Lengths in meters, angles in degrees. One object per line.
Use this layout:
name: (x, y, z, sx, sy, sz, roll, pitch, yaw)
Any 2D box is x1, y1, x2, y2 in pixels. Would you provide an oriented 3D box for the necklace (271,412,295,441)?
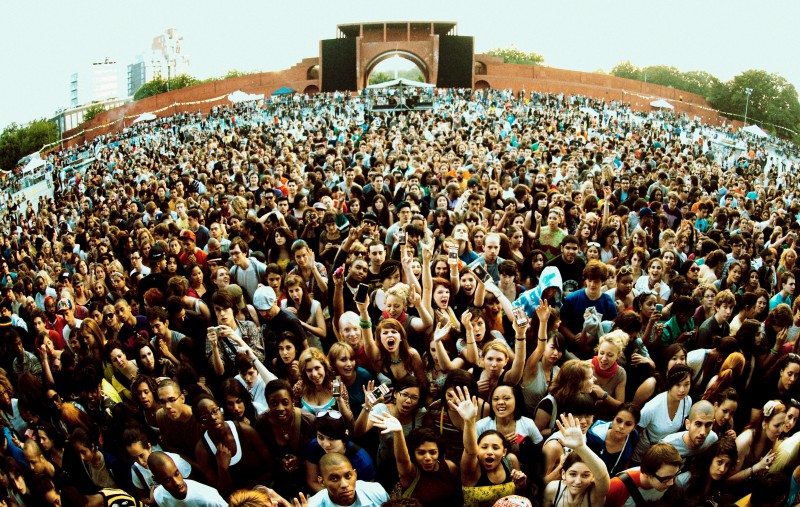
necklace: (-1.485, 2.278, 9.415, 0.229, 0.333, 0.089, 2, 1, 4)

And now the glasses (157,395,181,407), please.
glasses: (-3.020, 1.941, 9.455, 0.193, 0.131, 0.207, -2, -4, -6)

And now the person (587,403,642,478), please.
person: (2.742, 2.422, 9.379, 0.788, 1.043, 0.540, 3, 22, -4)

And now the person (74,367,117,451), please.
person: (-4.195, 2.184, 9.865, 0.414, 0.971, 0.348, -40, -24, -7)

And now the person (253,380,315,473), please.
person: (-1.491, 2.424, 9.510, 0.872, 1.473, 0.747, -3, 2, -12)

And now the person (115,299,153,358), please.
person: (-4.014, 1.169, 10.799, 0.239, 0.382, 0.735, 12, 21, -44)

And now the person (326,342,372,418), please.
person: (-0.689, 1.688, 9.789, 0.693, 0.924, 0.300, -22, -7, 35)

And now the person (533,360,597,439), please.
person: (2.172, 1.958, 9.816, 0.637, 1.221, 0.752, 12, 16, 4)

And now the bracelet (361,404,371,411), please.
bracelet: (-0.439, 2.011, 9.331, 0.074, 0.032, 0.092, 7, 6, 37)

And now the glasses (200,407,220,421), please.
glasses: (-2.442, 2.077, 9.214, 0.241, 0.164, 0.066, -8, 17, -18)

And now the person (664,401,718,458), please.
person: (3.806, 2.274, 9.322, 0.897, 0.682, 0.623, 3, 1, -8)

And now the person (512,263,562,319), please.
person: (2.155, 0.610, 11.013, 0.905, 0.887, 0.507, -1, 21, -10)

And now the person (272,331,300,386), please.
person: (-1.591, 1.488, 10.288, 0.410, 0.738, 0.372, -1, 8, 36)

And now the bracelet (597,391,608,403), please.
bracelet: (2.754, 1.961, 9.800, 0.148, 0.144, 0.095, -13, 14, -23)

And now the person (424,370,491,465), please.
person: (0.614, 2.118, 9.192, 0.805, 1.075, 0.422, -31, -22, 14)

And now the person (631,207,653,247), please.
person: (4.717, -0.580, 13.982, 0.333, 0.309, 1.127, 4, -31, 24)

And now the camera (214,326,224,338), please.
camera: (-2.537, 1.100, 10.093, 0.125, 0.134, 0.131, 3, -7, -24)

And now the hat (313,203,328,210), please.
hat: (-1.566, -0.924, 13.870, 0.239, 0.090, 0.170, -2, -3, 44)

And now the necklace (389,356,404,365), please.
necklace: (-0.056, 1.482, 9.931, 0.119, 0.119, 0.036, 8, 3, 3)

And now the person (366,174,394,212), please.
person: (-0.508, -1.319, 15.170, 0.622, 0.611, 0.957, -4, 2, -12)

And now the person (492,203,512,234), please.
person: (1.863, -0.626, 13.072, 0.299, 0.489, 0.861, 4, 18, 23)

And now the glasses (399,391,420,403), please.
glasses: (0.115, 1.869, 9.306, 0.246, 0.120, 0.043, -5, 16, -7)

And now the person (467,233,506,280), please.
person: (1.380, 0.072, 11.597, 0.687, 0.968, 0.489, 0, 7, -6)

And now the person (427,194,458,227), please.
person: (0.829, -0.710, 13.854, 0.452, 0.868, 0.313, -5, -7, 7)

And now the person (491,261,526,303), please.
person: (1.650, 0.453, 11.211, 0.692, 0.714, 0.430, 5, 7, -1)

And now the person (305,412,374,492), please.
person: (-0.776, 2.578, 9.159, 0.966, 1.036, 0.627, 1, 2, 13)

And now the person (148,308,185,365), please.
person: (-3.443, 1.240, 10.571, 0.401, 0.741, 0.405, -36, -3, 21)

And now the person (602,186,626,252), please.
person: (4.062, -0.627, 13.756, 0.433, 0.357, 1.373, 16, 30, 6)
